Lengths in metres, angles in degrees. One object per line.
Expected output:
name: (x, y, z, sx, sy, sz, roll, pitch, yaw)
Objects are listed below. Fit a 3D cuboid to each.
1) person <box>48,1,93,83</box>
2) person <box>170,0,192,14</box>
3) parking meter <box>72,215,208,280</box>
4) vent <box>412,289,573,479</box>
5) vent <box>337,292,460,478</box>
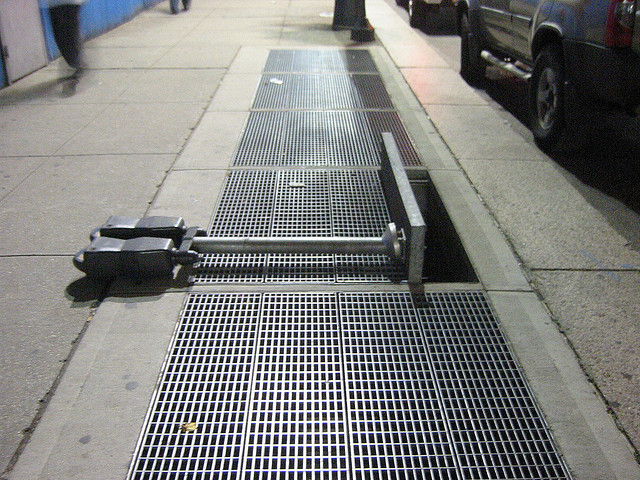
person: (-3.855, -3.207, 8.583, 0.498, 1.007, 0.631, -12, 37, -12)
person: (-3.716, -6.333, 14.743, 0.532, 0.359, 1.709, -8, 31, -9)
parking meter: (-1.250, 0.035, 3.885, 0.843, 0.265, 0.530, 0, 32, 3)
vent: (0.917, 0.831, 2.886, 0.727, 0.053, 1.399, -1, 41, -1)
vent: (0.382, 0.813, 3.024, 0.723, 0.055, 1.371, -1, 46, -4)
